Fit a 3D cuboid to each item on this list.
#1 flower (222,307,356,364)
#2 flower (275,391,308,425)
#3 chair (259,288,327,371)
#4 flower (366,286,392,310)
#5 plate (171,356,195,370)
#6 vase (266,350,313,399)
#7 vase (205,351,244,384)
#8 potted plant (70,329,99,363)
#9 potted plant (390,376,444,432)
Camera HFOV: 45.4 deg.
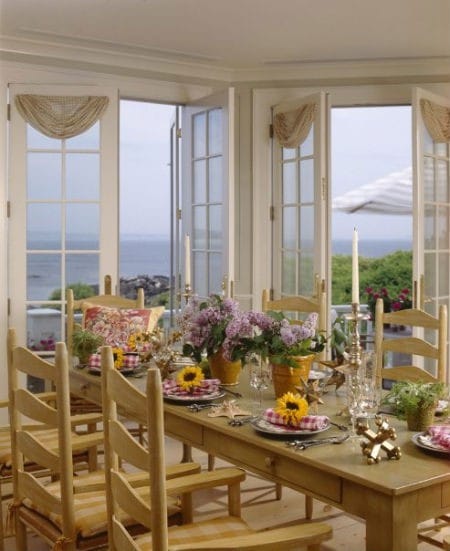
[{"bbox_3d":[0.205,0.188,1.824,0.327,0.128,0.206,3,-2,-40],"label":"flower"},{"bbox_3d":[0.182,0.351,1.445,0.078,0.080,0.033,-1,-43,9],"label":"flower"},{"bbox_3d":[0.348,0.271,2.994,0.333,0.586,0.316,-1,-4,40],"label":"chair"},{"bbox_3d":[2.185,0.311,7.597,0.522,0.380,0.467,0,-5,10],"label":"flower"},{"bbox_3d":[-0.187,0.393,2.416,0.073,0.018,0.076,0,5,-34],"label":"plate"},{"bbox_3d":[0.232,0.323,1.776,0.149,0.111,0.145,3,-5,-33],"label":"vase"},{"bbox_3d":[-0.006,0.350,2.068,0.131,0.128,0.120,4,-4,-25],"label":"vase"},{"bbox_3d":[-0.671,0.344,2.615,0.149,0.147,0.153,3,-5,-21],"label":"potted plant"},{"bbox_3d":[0.546,0.351,1.480,0.140,0.127,0.135,0,3,-3],"label":"potted plant"}]
